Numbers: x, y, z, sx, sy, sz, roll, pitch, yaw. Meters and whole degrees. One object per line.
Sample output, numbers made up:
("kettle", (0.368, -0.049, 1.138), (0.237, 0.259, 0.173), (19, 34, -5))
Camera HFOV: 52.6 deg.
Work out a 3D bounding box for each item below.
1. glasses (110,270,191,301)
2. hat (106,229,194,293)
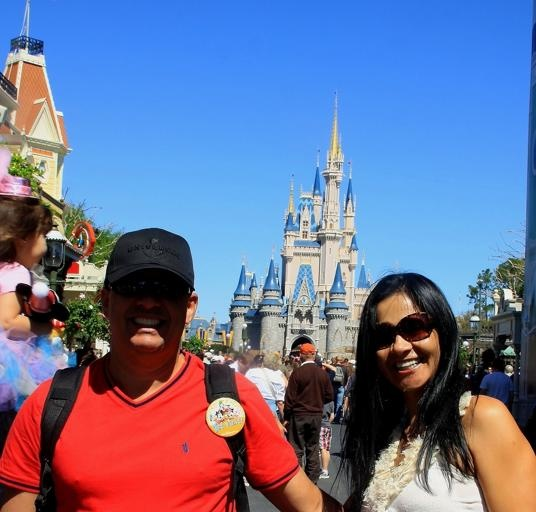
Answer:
("glasses", (-0.392, 0.124, 1.869), (0.184, 0.120, 0.258), (3, -7, -6))
("hat", (-0.411, 0.010, 1.929), (0.298, 0.234, 0.419), (6, -9, -17))
